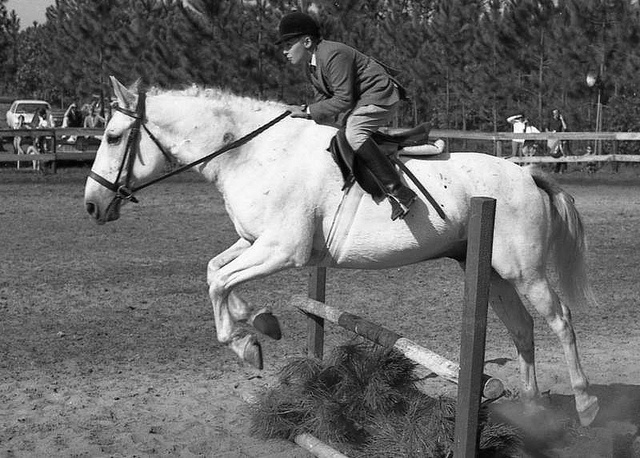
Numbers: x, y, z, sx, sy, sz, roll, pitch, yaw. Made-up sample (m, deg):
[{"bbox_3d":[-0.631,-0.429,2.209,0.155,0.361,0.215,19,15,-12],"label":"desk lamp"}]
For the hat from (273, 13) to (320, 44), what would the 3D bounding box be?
[{"bbox_3d":[-0.209,-1.788,7.067,0.344,0.182,0.251,-6,18,-7],"label":"hat"}]

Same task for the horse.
[{"bbox_3d":[0.253,0.231,7.454,4.874,2.672,1.120,4,4,-7],"label":"horse"}]
